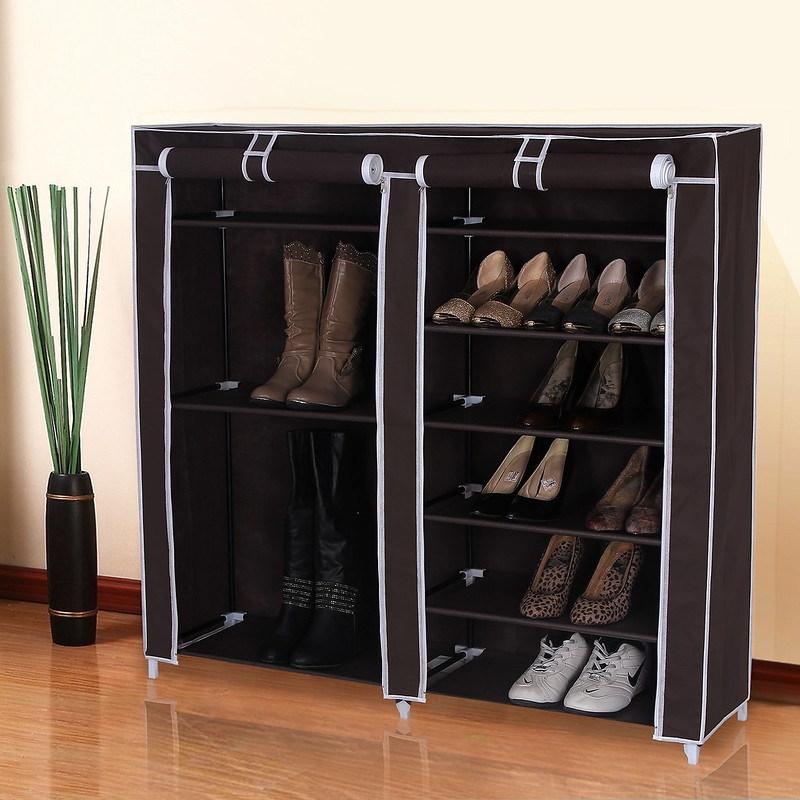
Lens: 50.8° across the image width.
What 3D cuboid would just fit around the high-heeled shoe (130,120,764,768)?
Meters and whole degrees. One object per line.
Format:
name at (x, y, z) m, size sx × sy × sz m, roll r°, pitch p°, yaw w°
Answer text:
high-heeled shoe at (0.144, 0.118, 2.096) m, size 1.488 × 1.358 × 0.443 m, roll 9°, pitch 21°, yaw 19°

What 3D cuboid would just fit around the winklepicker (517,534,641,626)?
winklepicker at (0.448, 0.450, 2.113) m, size 0.268 × 0.110 × 0.357 m, roll 0°, pitch 21°, yaw 25°

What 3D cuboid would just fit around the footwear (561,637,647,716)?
footwear at (0.526, 0.683, 2.114) m, size 0.136 × 0.116 × 0.337 m, roll -5°, pitch 0°, yaw 35°

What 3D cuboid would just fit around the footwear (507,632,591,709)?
footwear at (0.401, 0.679, 2.189) m, size 0.123 × 0.109 × 0.331 m, roll -3°, pitch 9°, yaw 37°

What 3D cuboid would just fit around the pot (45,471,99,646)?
pot at (-1.007, 0.497, 2.593) m, size 0.134 × 0.546 × 0.086 m, roll -1°, pitch 4°, yaw -13°

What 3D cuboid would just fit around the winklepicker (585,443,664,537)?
winklepicker at (0.551, 0.215, 2.035) m, size 0.147 × 0.087 × 0.246 m, roll -10°, pitch 24°, yaw 37°
